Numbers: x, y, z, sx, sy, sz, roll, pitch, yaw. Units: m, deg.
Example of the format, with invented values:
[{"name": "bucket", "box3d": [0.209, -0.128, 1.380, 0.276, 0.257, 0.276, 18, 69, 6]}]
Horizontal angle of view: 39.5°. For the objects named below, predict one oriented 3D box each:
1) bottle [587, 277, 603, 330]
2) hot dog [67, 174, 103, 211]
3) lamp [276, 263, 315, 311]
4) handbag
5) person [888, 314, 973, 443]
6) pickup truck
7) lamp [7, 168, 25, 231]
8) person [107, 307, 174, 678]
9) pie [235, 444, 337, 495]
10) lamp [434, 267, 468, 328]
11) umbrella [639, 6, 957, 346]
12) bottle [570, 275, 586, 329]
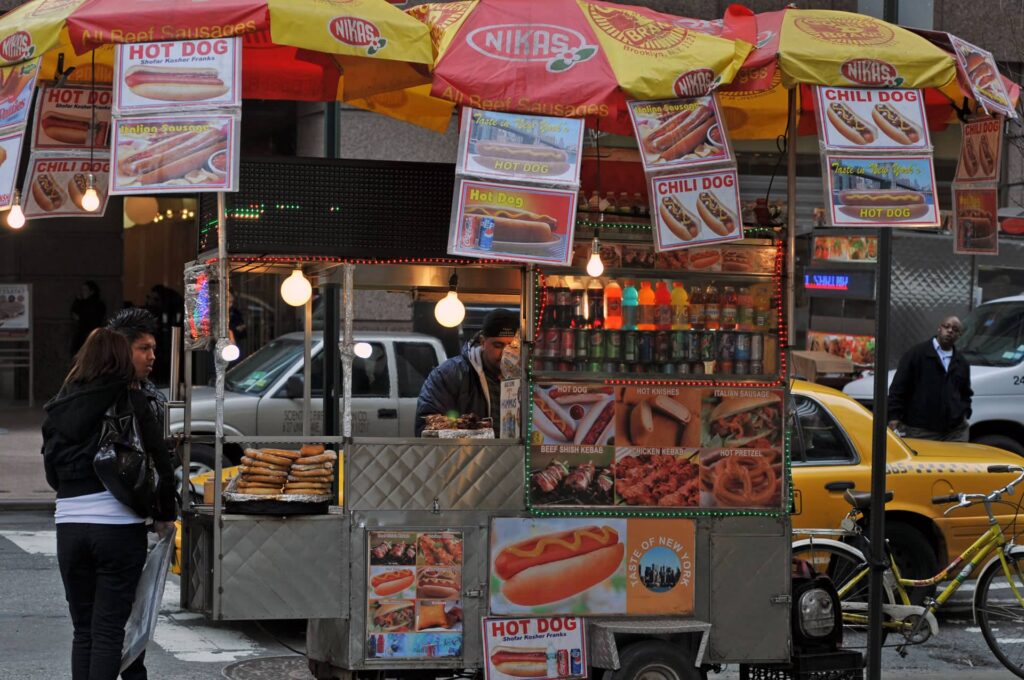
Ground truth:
[{"name": "bottle", "box3d": [0.651, -0.302, 11.038, 0.112, 0.394, 0.104, 0, 0, 0]}, {"name": "hot dog", "box3d": [-3.546, -1.223, 11.823, 0.222, 0.210, 0.461, 6, 22, -18]}, {"name": "lamp", "box3d": [-1.703, -0.417, 11.251, 0.290, 0.367, 0.282, 0, 7, -9]}, {"name": "handbag", "box3d": [-2.772, 0.828, 10.255, 0.460, 0.879, 0.190, 0, 0, -15]}, {"name": "person", "box3d": [5.044, 0.565, 17.110, 1.299, 1.707, 0.842, -2, -6, 20]}, {"name": "pickup truck", "box3d": [-2.222, 0.658, 17.521, 3.487, 1.450, 1.412, 0, 0, -3]}, {"name": "lamp", "box3d": [-4.161, -1.124, 11.967, 0.146, 0.303, 2.084, 0, 1, -19]}, {"name": "person", "box3d": [-3.077, 1.075, 10.681, 0.586, 2.588, 1.178, 1, -1, -17]}, {"name": "pie", "box3d": [-1.701, 0.962, 10.714, 0.727, 0.358, 0.296, 0, 0, -11]}, {"name": "lamp", "box3d": [-0.519, -0.353, 11.946, 0.231, 0.443, 0.712, 0, 1, -3]}, {"name": "umbrella", "box3d": [2.431, -1.314, 11.902, 2.659, 2.573, 2.674, 4, 6, 26]}, {"name": "bottle", "box3d": [0.526, -0.305, 11.011, 0.111, 0.385, 0.109, 1, 0, 0]}]
